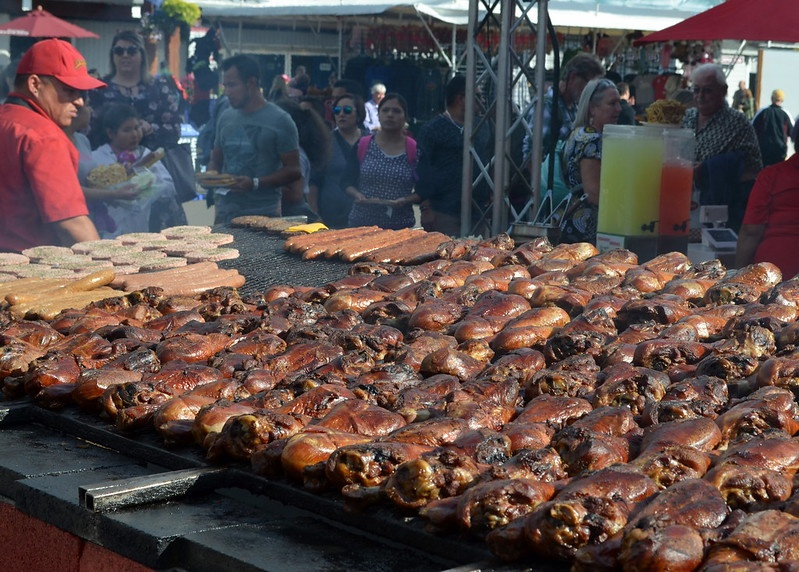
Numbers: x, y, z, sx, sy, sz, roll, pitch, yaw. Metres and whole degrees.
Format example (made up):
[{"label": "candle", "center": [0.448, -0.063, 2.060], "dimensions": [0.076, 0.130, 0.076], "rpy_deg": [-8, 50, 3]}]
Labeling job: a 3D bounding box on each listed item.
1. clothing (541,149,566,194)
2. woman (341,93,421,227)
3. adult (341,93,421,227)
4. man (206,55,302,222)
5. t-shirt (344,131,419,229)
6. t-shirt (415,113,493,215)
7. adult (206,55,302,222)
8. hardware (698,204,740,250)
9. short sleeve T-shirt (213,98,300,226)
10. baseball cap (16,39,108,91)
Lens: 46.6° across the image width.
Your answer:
[{"label": "clothing", "center": [1.304, -0.945, 7.682], "dimensions": [0.178, 0.333, 0.289], "rpy_deg": [-10, 15, -39]}, {"label": "woman", "center": [-0.156, -1.119, 8.443], "dimensions": [0.682, 1.208, 1.228], "rpy_deg": [-4, 14, -3]}, {"label": "adult", "center": [-0.156, -1.119, 8.443], "dimensions": [0.682, 1.208, 1.228], "rpy_deg": [-4, 14, -3]}, {"label": "man", "center": [-1.364, -1.332, 8.554], "dimensions": [0.855, 1.545, 0.712], "rpy_deg": [-5, 15, -6]}, {"label": "t-shirt", "center": [-0.180, -0.985, 8.640], "dimensions": [0.760, 0.818, 0.499], "rpy_deg": [4, 16, -20]}, {"label": "t-shirt", "center": [0.638, -1.271, 8.980], "dimensions": [1.039, 0.790, 0.500], "rpy_deg": [-4, 10, -1]}, {"label": "adult", "center": [-1.357, -1.334, 8.561], "dimensions": [0.852, 1.545, 0.720], "rpy_deg": [-6, 15, -8]}, {"label": "hardware", "center": [2.634, -0.478, 7.548], "dimensions": [0.429, 0.333, 0.284], "rpy_deg": [-4, 16, -35]}, {"label": "short sleeve T-shirt", "center": [-1.396, -1.159, 8.733], "dimensions": [0.989, 1.070, 0.459], "rpy_deg": [5, 11, 20]}, {"label": "baseball cap", "center": [-2.158, -1.462, 5.996], "dimensions": [0.565, 0.252, 0.325], "rpy_deg": [21, 34, 18]}]
